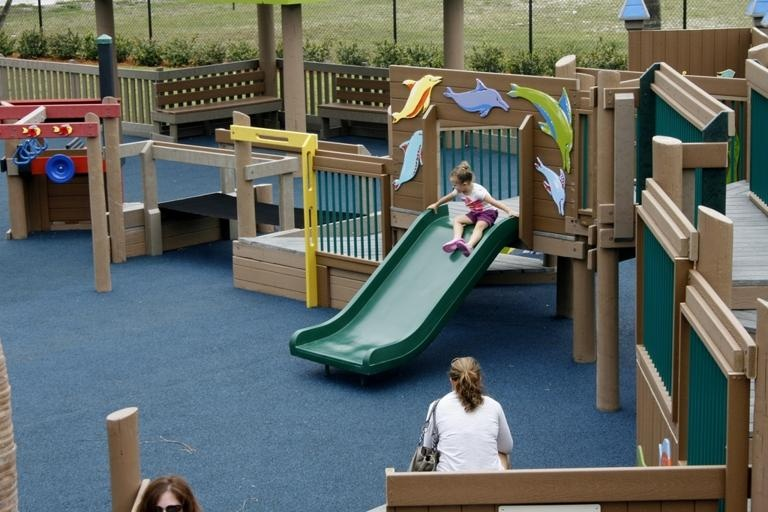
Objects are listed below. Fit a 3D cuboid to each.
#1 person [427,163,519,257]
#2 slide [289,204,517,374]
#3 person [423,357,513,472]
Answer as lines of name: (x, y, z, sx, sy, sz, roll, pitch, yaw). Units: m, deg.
person: (0.945, -0.552, 10.833, 1.170, 0.875, 0.987, -3, 23, 18)
slide: (0.320, 0.327, 10.802, 2.562, 0.848, 1.229, -32, 27, -36)
person: (0.662, 1.288, 7.645, 0.650, 0.923, 1.012, 0, -11, 8)
